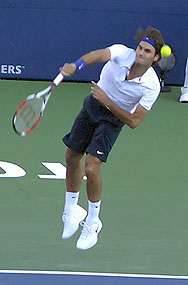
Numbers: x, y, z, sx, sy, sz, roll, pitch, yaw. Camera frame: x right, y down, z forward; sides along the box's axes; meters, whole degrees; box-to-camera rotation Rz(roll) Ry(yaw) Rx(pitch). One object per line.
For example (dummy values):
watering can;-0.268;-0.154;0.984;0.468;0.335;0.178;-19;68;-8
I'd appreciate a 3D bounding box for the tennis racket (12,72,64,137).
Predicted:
tennis racket;-0.325;-0.210;1.532;0.195;0.360;0.415;10;9;-16

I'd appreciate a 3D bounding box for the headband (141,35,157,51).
headband;0.357;-0.643;1.769;0.111;0.055;0.091;12;9;7
